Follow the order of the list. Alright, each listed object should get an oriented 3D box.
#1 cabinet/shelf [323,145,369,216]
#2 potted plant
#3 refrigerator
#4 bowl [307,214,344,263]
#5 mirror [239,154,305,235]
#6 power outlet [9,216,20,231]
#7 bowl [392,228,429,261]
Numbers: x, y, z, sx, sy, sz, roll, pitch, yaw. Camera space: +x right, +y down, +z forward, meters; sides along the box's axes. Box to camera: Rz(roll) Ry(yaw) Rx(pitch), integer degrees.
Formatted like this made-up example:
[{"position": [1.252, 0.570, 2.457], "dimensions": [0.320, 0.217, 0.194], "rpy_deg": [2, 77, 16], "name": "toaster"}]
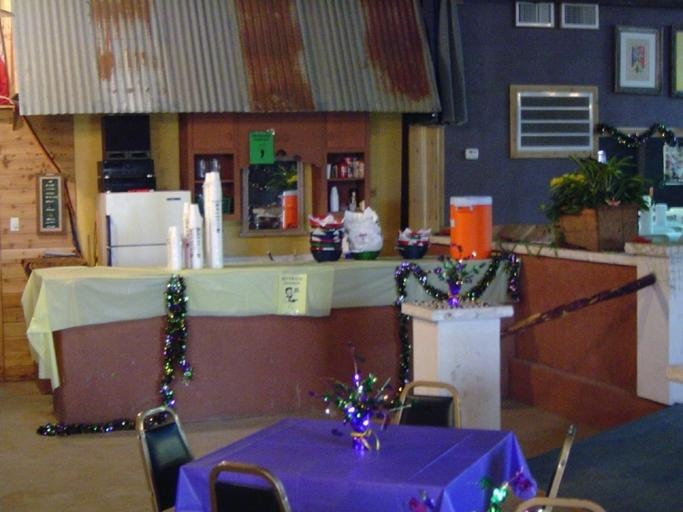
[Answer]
[{"position": [0.050, -0.797, 8.772], "dimensions": [0.469, 0.654, 0.392], "rpy_deg": [-2, 6, -4], "name": "cabinet/shelf"}, {"position": [1.881, -0.368, 6.182], "dimensions": [0.724, 0.816, 0.679], "rpy_deg": [-1, 2, -7], "name": "potted plant"}, {"position": [-1.762, -0.059, 7.393], "dimensions": [0.825, 0.953, 0.619], "rpy_deg": [1, -6, -24], "name": "refrigerator"}, {"position": [-0.109, -0.137, 6.472], "dimensions": [0.272, 0.384, 0.250], "rpy_deg": [-2, 6, 0], "name": "bowl"}, {"position": [-0.757, -0.668, 8.635], "dimensions": [0.736, 1.032, 0.068], "rpy_deg": [-1, 4, -13], "name": "mirror"}, {"position": [-3.254, -0.312, 7.998], "dimensions": [0.127, 0.212, 0.020], "rpy_deg": [0, 0, -20], "name": "power outlet"}, {"position": [0.587, -0.087, 6.588], "dimensions": [0.226, 0.223, 0.245], "rpy_deg": [1, -4, 0], "name": "bowl"}]
